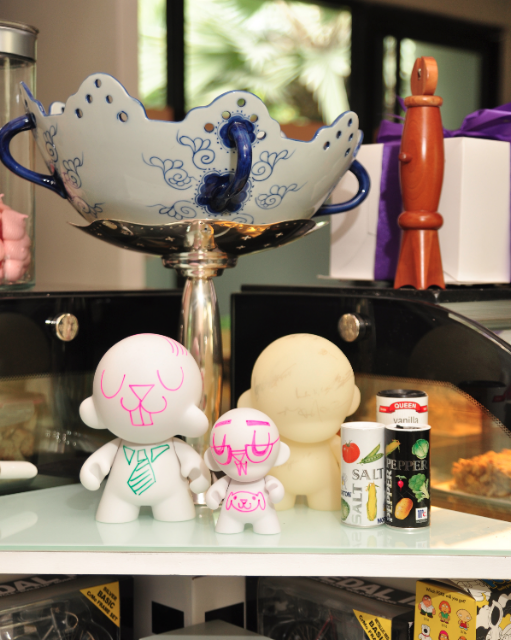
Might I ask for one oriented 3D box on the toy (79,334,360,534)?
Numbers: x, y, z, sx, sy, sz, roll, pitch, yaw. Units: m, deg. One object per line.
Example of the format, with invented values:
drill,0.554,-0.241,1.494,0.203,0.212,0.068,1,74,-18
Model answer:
toy,-0.028,0.110,0.633,0.188,0.121,0.065,1,0,-10
